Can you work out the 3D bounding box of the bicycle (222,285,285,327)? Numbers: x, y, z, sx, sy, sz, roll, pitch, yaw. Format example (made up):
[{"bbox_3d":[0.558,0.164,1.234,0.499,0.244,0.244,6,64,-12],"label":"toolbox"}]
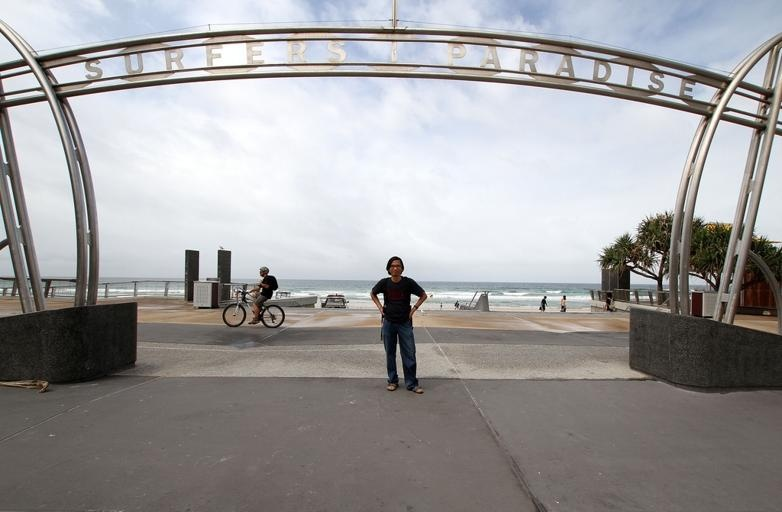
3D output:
[{"bbox_3d":[-4.135,1.616,13.541,1.837,1.077,0.836,4,-8,-10],"label":"bicycle"}]

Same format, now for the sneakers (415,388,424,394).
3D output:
[{"bbox_3d":[0.438,2.073,6.893,0.135,0.047,0.155,1,8,-1],"label":"sneakers"}]

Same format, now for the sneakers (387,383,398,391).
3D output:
[{"bbox_3d":[0.026,2.045,7.021,0.180,0.102,0.212,1,8,1],"label":"sneakers"}]

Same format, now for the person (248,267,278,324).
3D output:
[{"bbox_3d":[-3.751,1.239,13.173,0.701,1.886,1.473,-4,10,-26],"label":"person"}]

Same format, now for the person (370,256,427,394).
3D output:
[{"bbox_3d":[0.110,1.054,7.117,0.834,2.214,1.070,0,9,-3],"label":"person"}]

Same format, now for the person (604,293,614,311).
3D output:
[{"bbox_3d":[13.052,2.717,26.755,0.458,0.927,1.014,5,10,24],"label":"person"}]
